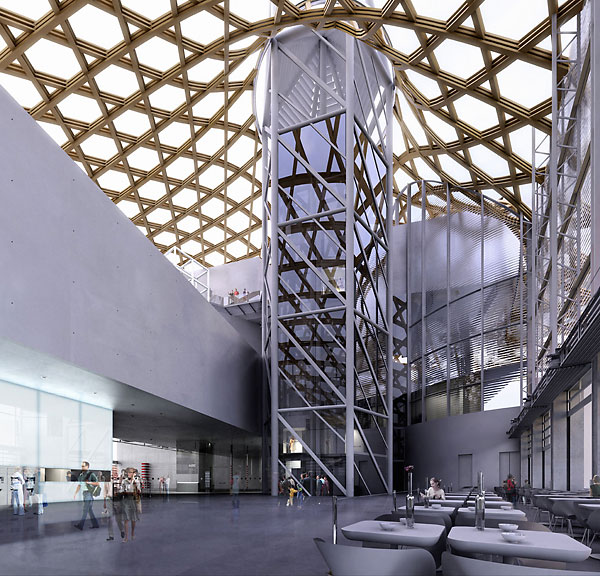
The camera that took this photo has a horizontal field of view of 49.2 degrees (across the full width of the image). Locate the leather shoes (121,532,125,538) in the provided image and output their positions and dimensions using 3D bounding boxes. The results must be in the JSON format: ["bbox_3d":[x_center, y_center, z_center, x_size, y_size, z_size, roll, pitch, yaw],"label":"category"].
[{"bbox_3d":[-3.389,4.718,12.598,0.061,0.115,0.304,3,-19,-17],"label":"leather shoes"}]
